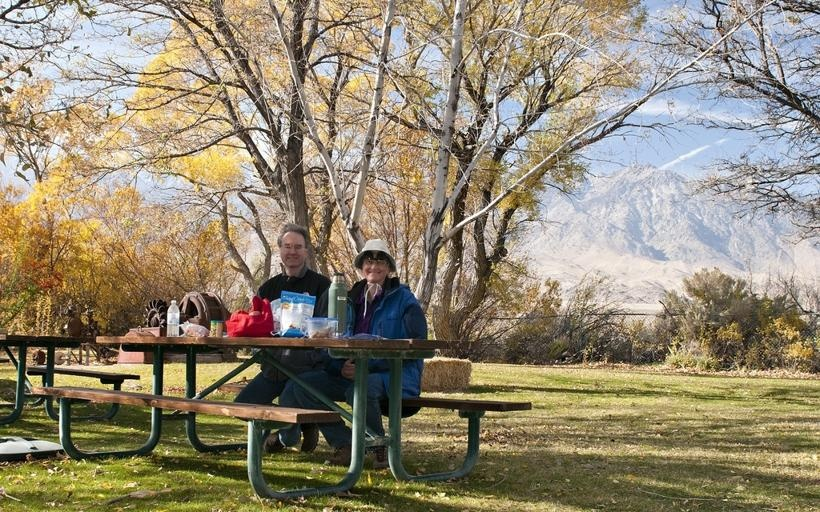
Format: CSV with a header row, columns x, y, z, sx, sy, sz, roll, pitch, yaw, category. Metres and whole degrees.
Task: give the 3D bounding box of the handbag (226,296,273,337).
x,y,z,sx,sy,sz,roll,pitch,yaw,category
-2.539,0.971,14.097,0.741,0.660,0.418,3,-7,-6,handbag
